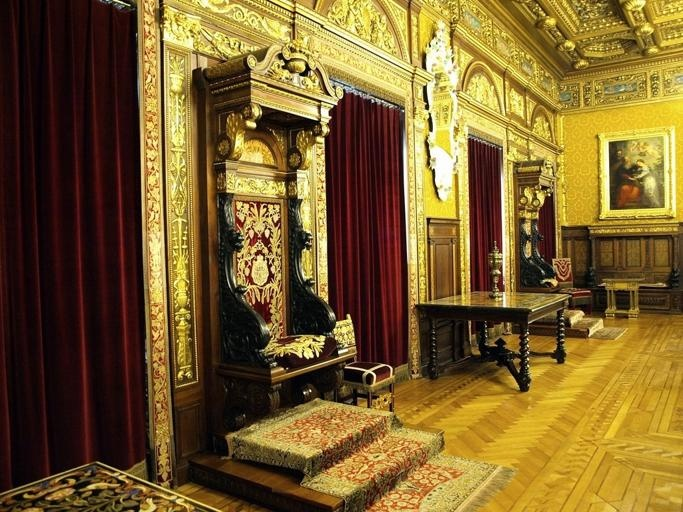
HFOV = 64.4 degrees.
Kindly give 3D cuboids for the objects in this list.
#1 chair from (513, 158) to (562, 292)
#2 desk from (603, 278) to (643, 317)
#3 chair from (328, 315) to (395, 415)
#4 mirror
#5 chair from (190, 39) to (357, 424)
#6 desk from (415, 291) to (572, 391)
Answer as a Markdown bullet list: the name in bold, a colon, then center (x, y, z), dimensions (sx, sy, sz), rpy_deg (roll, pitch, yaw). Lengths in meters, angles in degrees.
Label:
- **chair**: center (3.467, -0.588, 9.629), dimensions (0.620, 1.915, 0.719), rpy_deg (-2, 1, 40)
- **desk**: center (5.900, 0.847, 11.400), dimensions (0.781, 0.772, 0.808), rpy_deg (1, -2, -36)
- **chair**: center (0.163, 1.059, 5.113), dimensions (0.583, 0.892, 0.543), rpy_deg (3, 2, 19)
- **mirror**: center (1.308, -1.901, 7.092), dimensions (0.348, 2.024, 0.633), rpy_deg (-2, 1, 26)
- **chair**: center (-0.537, -0.176, 4.411), dimensions (0.681, 3.023, 0.875), rpy_deg (-2, 1, 34)
- **desk**: center (1.949, 0.988, 6.930), dimensions (1.380, 0.978, 1.669), rpy_deg (-2, 0, 35)
